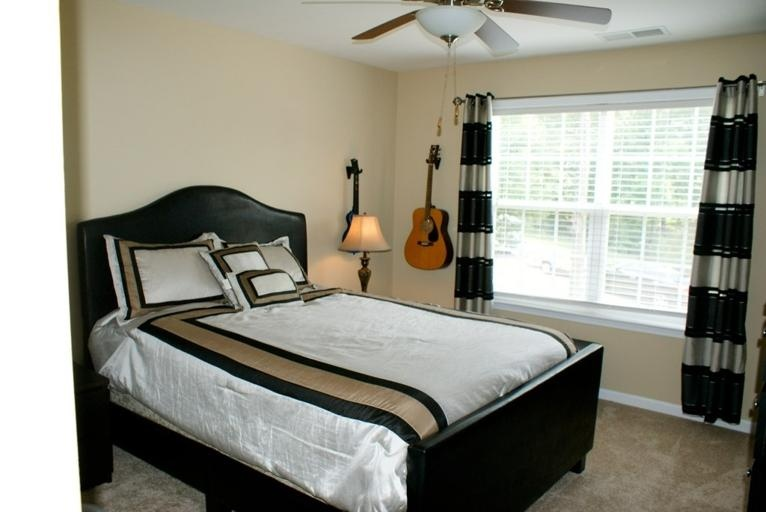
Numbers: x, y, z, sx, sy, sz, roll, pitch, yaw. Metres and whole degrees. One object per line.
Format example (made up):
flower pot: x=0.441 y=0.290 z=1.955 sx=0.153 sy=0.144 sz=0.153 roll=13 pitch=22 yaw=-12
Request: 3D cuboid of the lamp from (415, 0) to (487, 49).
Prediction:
lamp: x=0.246 y=-0.832 z=1.998 sx=0.224 sy=0.096 sz=0.180 roll=-4 pitch=12 yaw=-35

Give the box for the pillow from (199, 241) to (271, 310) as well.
pillow: x=-0.905 y=0.124 z=3.392 sx=0.383 sy=0.349 sz=0.111 roll=-15 pitch=-16 yaw=-49
